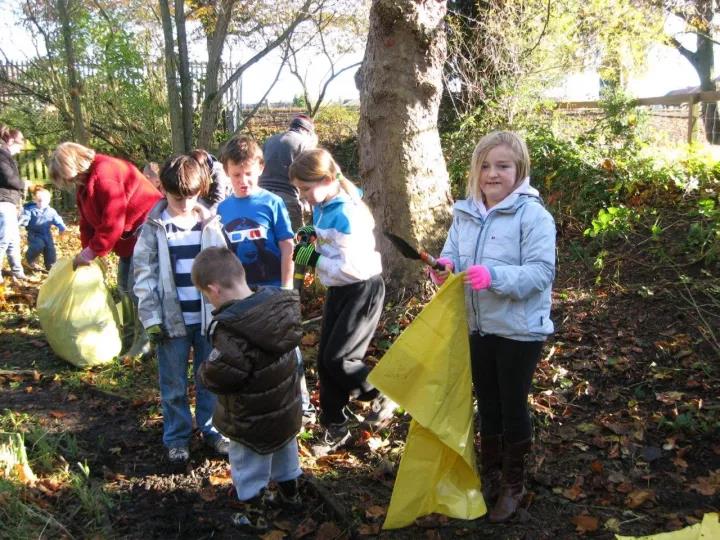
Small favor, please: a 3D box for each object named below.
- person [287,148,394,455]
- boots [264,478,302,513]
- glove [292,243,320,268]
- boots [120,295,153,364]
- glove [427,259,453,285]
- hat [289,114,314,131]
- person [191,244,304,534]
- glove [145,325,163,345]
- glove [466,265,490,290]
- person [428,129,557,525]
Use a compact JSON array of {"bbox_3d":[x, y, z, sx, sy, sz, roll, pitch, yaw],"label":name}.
[{"bbox_3d":[-0.149,0.252,4.812,0.700,2.405,0.408,-4,7,-4],"label":"person"},{"bbox_3d":[-0.562,1.641,4.365,0.263,0.259,0.125,21,43,21],"label":"boots"},{"bbox_3d":[-0.433,-0.119,4.835,0.184,0.188,0.068,9,10,29],"label":"glove"},{"bbox_3d":[-2.194,0.583,5.846,0.276,0.732,0.511,-2,5,-4],"label":"boots"},{"bbox_3d":[0.584,0.024,4.204,0.070,0.177,0.142,33,-6,-28],"label":"glove"},{"bbox_3d":[-0.701,-1.769,7.283,0.243,0.191,0.186,-12,27,-36],"label":"hat"},{"bbox_3d":[-0.710,0.962,4.098,0.693,1.677,0.291,-5,7,-15],"label":"person"},{"bbox_3d":[-1.573,0.493,4.597,0.132,0.131,0.119,0,6,15],"label":"glove"},{"bbox_3d":[0.777,0.044,3.933,0.163,0.142,0.088,-2,7,14],"label":"glove"},{"bbox_3d":[0.949,0.377,4.172,0.796,2.643,0.532,-1,7,17],"label":"person"}]
